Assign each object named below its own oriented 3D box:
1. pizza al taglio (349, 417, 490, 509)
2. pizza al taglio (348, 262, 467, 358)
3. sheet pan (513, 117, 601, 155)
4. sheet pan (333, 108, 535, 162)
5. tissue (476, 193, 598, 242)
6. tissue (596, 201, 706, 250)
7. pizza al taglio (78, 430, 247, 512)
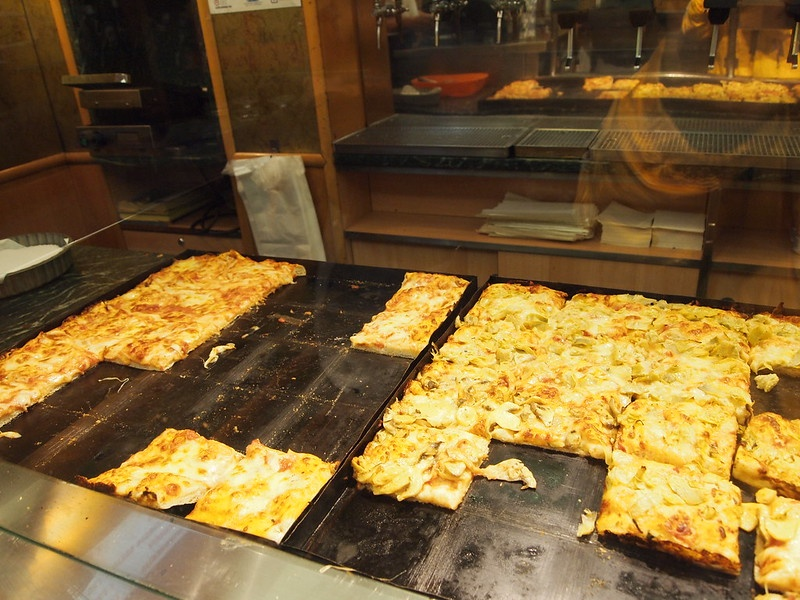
[{"bbox_3d":[0.053,0.434,1.597,0.270,0.048,0.231,7,23,24],"label":"pizza al taglio"},{"bbox_3d":[0.046,0.022,2.255,0.318,0.064,0.436,11,33,29],"label":"pizza al taglio"},{"bbox_3d":[0.694,-0.708,2.519,0.349,0.064,0.198,8,48,27],"label":"sheet pan"},{"bbox_3d":[0.202,-0.790,2.731,0.700,0.076,0.395,5,30,26],"label":"sheet pan"},{"bbox_3d":[0.690,-0.397,2.886,0.415,0.103,0.304,7,22,26],"label":"tissue"},{"bbox_3d":[1.143,-0.339,2.608,0.373,0.092,0.247,7,25,24],"label":"tissue"},{"bbox_3d":[-0.680,0.489,1.687,0.360,0.072,0.362,-21,28,-39],"label":"pizza al taglio"}]
